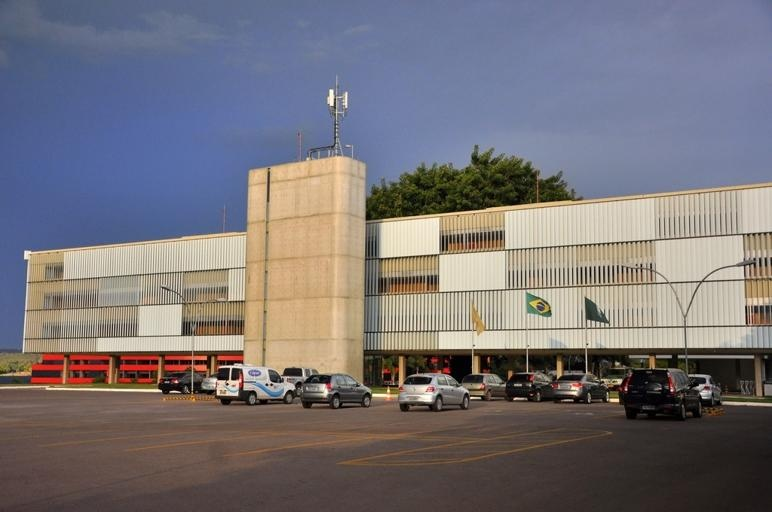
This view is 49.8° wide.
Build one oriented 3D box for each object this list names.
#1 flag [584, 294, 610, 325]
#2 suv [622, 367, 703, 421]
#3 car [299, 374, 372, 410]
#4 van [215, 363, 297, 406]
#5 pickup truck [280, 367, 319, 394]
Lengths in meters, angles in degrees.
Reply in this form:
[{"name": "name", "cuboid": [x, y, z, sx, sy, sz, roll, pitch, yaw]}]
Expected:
[{"name": "flag", "cuboid": [16.513, 4.141, 65.534, 1.948, 2.563, 4.774, -6, -16, 14]}, {"name": "suv", "cuboid": [13.047, 6.296, 38.882, 1.867, 1.623, 4.046, -4, -7, 27]}, {"name": "car", "cuboid": [-2.911, 7.407, 46.207, 1.864, 1.536, 3.484, -4, -5, 40]}, {"name": "van", "cuboid": [-7.749, 7.663, 49.096, 4.143, 2.421, 1.640, 8, -17, -33]}, {"name": "pickup truck", "cuboid": [-6.435, 9.154, 59.748, 1.884, 1.675, 3.346, -3, -4, 28]}]
